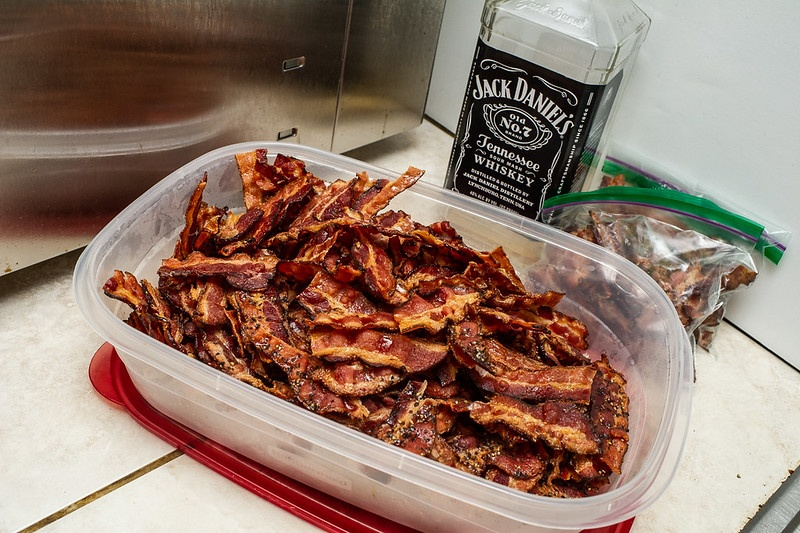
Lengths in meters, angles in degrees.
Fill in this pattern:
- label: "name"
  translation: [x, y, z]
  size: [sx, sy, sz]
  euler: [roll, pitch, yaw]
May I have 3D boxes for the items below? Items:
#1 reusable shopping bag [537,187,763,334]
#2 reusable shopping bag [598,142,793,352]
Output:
- label: "reusable shopping bag"
  translation: [0.459, 0.012, 1.253]
  size: [0.337, 0.125, 0.262]
  euler: [19, 50, 9]
- label: "reusable shopping bag"
  translation: [0.556, -0.069, 1.311]
  size: [0.532, 0.144, 0.158]
  euler: [30, 12, 27]
